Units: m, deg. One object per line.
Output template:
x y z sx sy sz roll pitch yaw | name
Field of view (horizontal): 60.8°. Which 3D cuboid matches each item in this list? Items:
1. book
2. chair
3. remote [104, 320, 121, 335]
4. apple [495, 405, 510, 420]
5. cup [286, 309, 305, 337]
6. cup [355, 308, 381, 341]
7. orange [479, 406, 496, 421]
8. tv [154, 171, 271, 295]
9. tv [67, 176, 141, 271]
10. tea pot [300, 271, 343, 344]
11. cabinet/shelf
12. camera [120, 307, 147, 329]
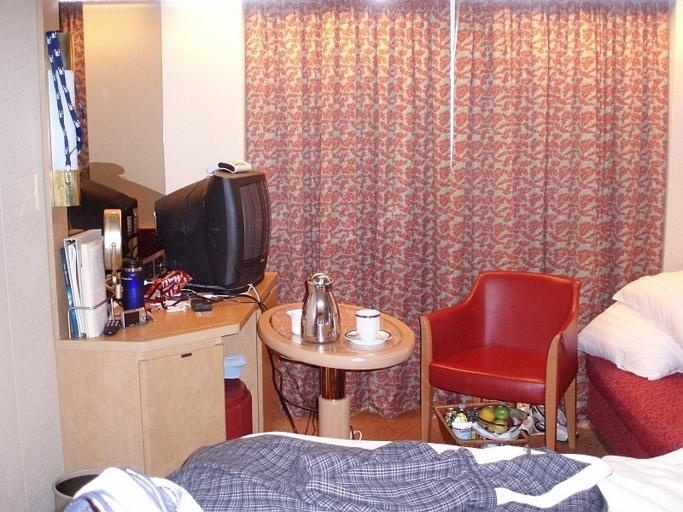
-1.129 0.128 2.514 0.133 0.415 0.419 -3 8 -8 | book
0.910 0.637 3.327 0.828 0.954 0.816 1 7 21 | chair
-1.019 0.312 2.582 0.042 0.020 0.080 -2 19 -1 | remote
0.848 0.826 3.075 0.067 0.069 0.065 -7 -9 29 | apple
-0.209 0.309 2.678 0.107 0.099 0.090 5 8 36 | cup
0.114 0.295 2.524 0.125 0.104 0.102 2 9 5 | cup
0.767 0.829 3.061 0.062 0.076 0.062 16 -20 -19 | orange
-0.612 -0.150 3.307 0.605 0.656 0.634 4 16 8 | tv
-1.174 -0.195 3.085 0.322 0.624 0.426 4 8 2 | tv
-0.094 0.225 2.590 0.163 0.292 0.172 -2 14 0 | tea pot
-0.773 0.359 2.771 0.615 0.799 1.230 1 7 13 | cabinet/shelf
-0.944 0.278 2.633 0.070 0.082 0.114 0 1 35 | camera
